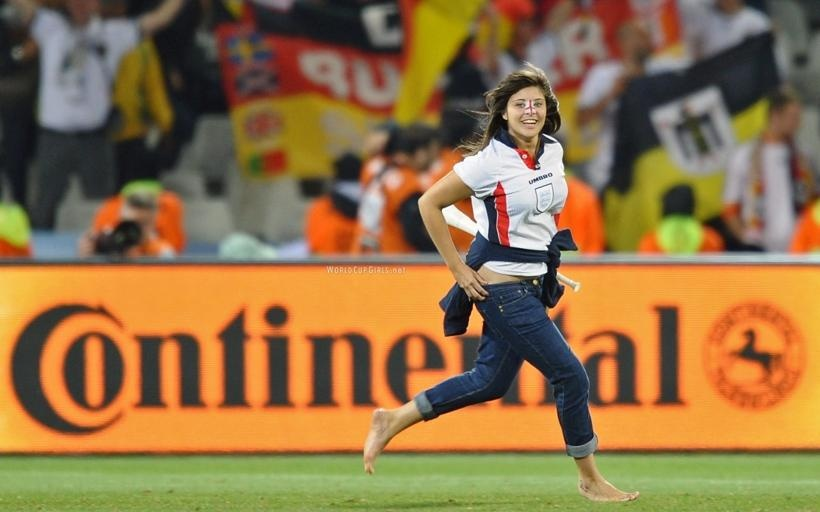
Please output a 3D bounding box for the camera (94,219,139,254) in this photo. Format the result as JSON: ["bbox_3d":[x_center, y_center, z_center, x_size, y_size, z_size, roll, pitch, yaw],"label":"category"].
[{"bbox_3d":[-1.971,-0.131,10.843,0.301,0.180,0.125,-27,-5,-9],"label":"camera"}]

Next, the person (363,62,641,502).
[{"bbox_3d":[0.601,0.175,10.010,1.436,2.718,0.477,-1,-2,7],"label":"person"}]
